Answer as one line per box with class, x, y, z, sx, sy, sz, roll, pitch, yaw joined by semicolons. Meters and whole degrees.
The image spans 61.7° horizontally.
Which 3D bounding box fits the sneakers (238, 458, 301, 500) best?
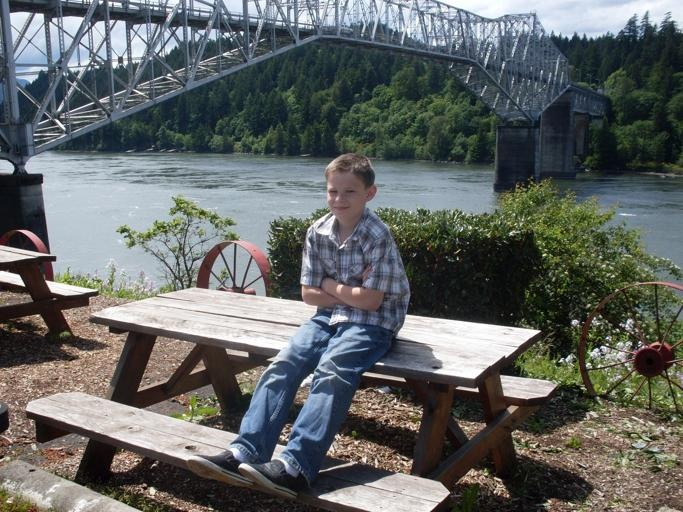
sneakers;-0.271;0.906;2.389;0.289;0.128;0.118;31;-31;-12
